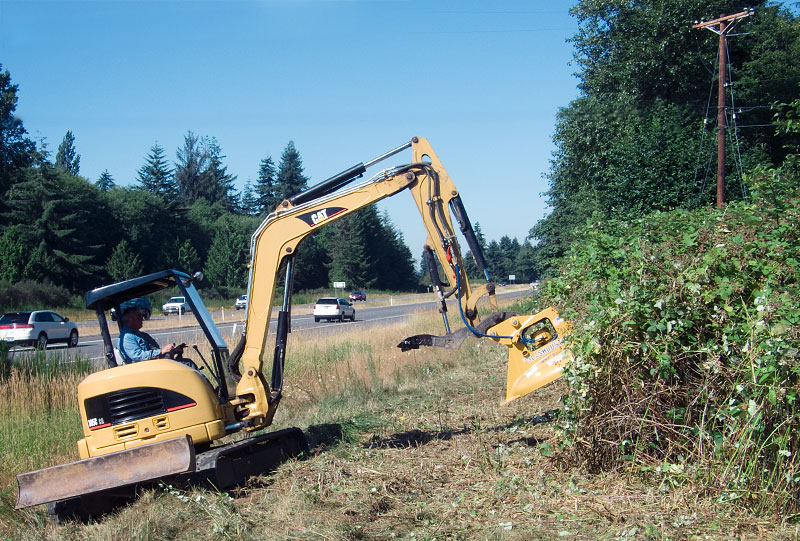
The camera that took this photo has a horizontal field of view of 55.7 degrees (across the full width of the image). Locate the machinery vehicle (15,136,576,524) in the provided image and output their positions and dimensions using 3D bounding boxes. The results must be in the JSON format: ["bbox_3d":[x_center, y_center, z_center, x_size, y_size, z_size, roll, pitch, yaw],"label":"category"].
[{"bbox_3d":[-1.670,0.924,12.181,8.282,4.852,4.338,-10,-6,-3],"label":"machinery vehicle"}]

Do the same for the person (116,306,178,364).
[{"bbox_3d":[-3.916,0.990,11.637,0.807,0.985,0.639,-5,13,-9],"label":"person"}]
